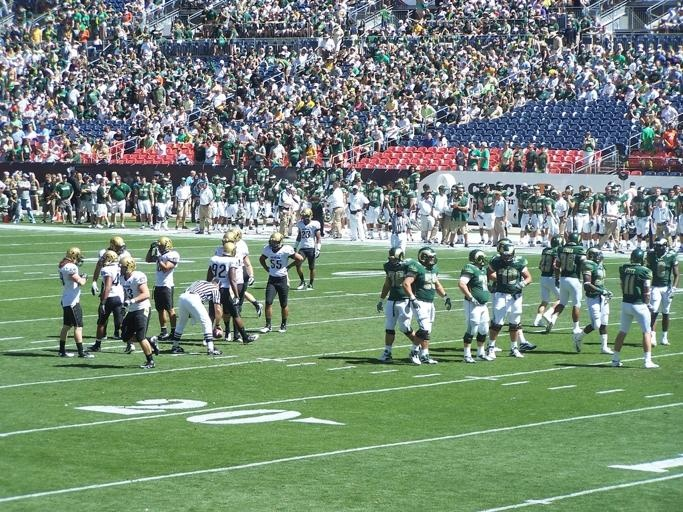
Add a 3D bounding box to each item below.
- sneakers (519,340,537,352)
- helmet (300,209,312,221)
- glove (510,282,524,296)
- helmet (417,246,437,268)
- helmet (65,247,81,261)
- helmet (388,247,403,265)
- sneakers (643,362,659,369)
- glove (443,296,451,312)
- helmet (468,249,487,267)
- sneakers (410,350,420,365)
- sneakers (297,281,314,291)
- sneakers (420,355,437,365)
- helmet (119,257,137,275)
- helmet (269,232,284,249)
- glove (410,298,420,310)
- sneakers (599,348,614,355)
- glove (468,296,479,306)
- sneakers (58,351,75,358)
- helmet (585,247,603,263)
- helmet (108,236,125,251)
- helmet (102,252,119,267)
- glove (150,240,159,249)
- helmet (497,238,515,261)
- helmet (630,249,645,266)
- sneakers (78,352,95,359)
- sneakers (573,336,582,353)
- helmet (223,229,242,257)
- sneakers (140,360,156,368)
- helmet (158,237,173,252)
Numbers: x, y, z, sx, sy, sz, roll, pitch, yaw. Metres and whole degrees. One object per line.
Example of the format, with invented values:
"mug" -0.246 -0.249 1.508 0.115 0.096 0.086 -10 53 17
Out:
"sneakers" 3.205 1.574 17.541 0.337 0.155 0.120 1 29 9
"helmet" -0.831 -1.015 24.020 0.224 0.267 0.271 8 -32 9
"glove" 2.901 0.560 16.783 0.187 0.178 0.240 0 0 -2
"helmet" 1.394 0.031 16.265 0.271 0.300 0.314 -2 -3 -42
"helmet" -4.322 -0.006 16.477 0.229 0.196 0.286 0 0 -15
"helmet" 0.870 0.026 16.354 0.204 0.233 0.267 -11 -11 38
"sneakers" 4.896 1.735 16.047 0.252 0.108 0.187 0 0 -3
"glove" 1.744 0.793 16.682 0.102 0.268 0.200 -6 32 6
"helmet" 2.190 0.031 16.526 0.291 0.269 0.217 -12 23 -2
"sneakers" 1.198 1.648 16.414 0.166 0.233 0.140 0 -1 11
"sneakers" -0.826 0.767 24.033 0.151 0.189 0.477 -2 -10 34
"sneakers" 1.451 1.687 16.442 0.339 0.212 0.109 1 19 2
"helmet" -3.401 0.197 16.471 0.301 0.254 0.228 -11 22 -31
"helmet" -1.219 -0.245 18.904 0.238 0.238 0.295 1 0 11
"glove" 1.146 0.771 15.868 0.111 0.146 0.055 6 -9 -26
"sneakers" 4.511 1.630 17.293 0.187 0.095 0.355 0 0 12
"glove" 2.098 0.722 16.125 0.157 0.129 0.091 0 -1 9
"sneakers" -4.472 1.630 16.746 0.222 0.091 0.369 0 0 2
"helmet" 4.350 -0.009 17.464 0.272 0.261 0.219 -22 26 4
"helmet" -3.794 -0.182 17.237 0.230 0.267 0.650 0 0 -12
"helmet" -3.795 0.043 16.822 0.213 0.231 0.279 0 0 -15
"glove" -3.810 -0.203 20.787 0.253 0.130 0.400 5 -5 -4
"helmet" 2.726 -0.079 16.759 0.272 0.283 0.359 0 7 0
"helmet" 4.674 0.028 16.074 0.230 0.261 0.263 2 -31 8
"sneakers" -4.149 1.640 16.609 0.265 0.099 0.091 1 13 7
"sneakers" 4.039 1.520 17.410 0.108 0.301 0.144 -4 9 2
"helmet" -1.940 -0.226 18.255 0.350 0.427 0.442 5 19 13
"sneakers" -3.005 1.673 15.883 0.204 0.194 0.340 0 0 -10
"helmet" -3.021 -0.171 17.491 0.215 0.241 0.217 0 -1 -18
